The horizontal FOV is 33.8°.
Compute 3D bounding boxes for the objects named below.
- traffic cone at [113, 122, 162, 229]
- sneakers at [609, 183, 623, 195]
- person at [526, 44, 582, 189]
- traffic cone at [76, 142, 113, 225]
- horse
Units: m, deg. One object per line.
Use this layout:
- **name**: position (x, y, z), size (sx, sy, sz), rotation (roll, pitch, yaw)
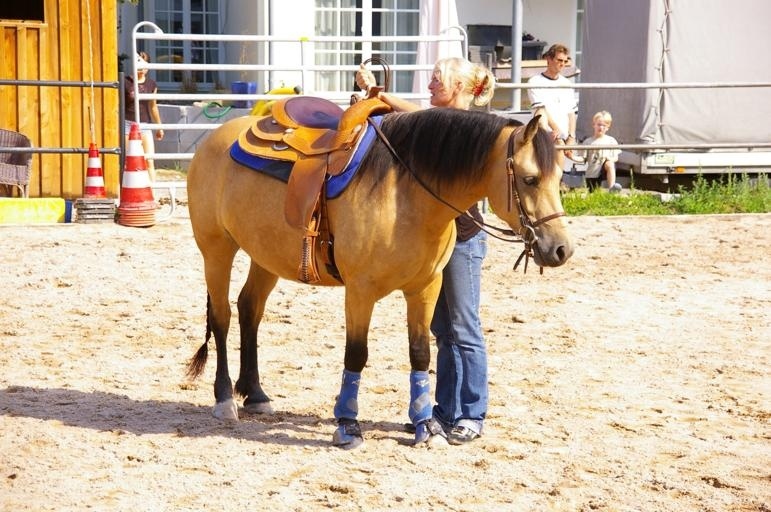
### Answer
- **traffic cone**: position (-3.063, -0.952, 15.285), size (0.414, 1.236, 0.452), rotation (2, 8, 9)
- **sneakers**: position (3.240, -0.943, 17.908), size (0.153, 0.134, 0.313), rotation (-2, 4, 4)
- **person**: position (2.294, -1.894, 16.993), size (0.648, 1.770, 0.640), rotation (-8, 25, -9)
- **traffic cone**: position (-3.581, -0.897, 15.464), size (0.496, 0.946, 0.448), rotation (-1, 8, -13)
- **horse**: position (-0.301, 0.121, 11.792), size (4.044, 3.329, 1.356), rotation (7, 11, 28)
